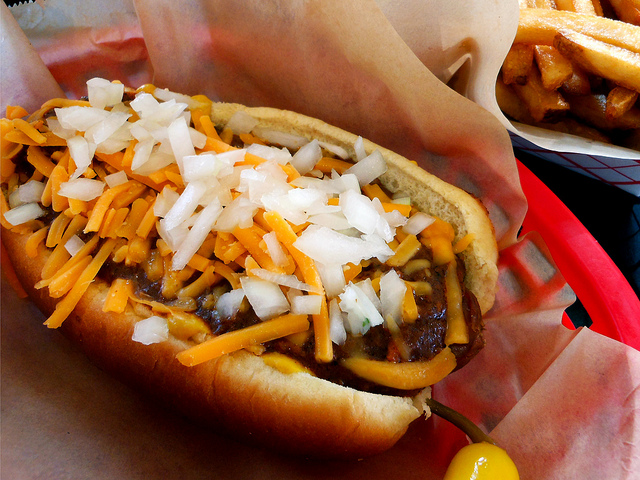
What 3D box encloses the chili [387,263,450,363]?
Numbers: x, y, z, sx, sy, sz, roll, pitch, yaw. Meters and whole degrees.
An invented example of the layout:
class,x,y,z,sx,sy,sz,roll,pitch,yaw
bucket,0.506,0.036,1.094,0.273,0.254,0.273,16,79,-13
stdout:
class,x,y,z,sx,sy,sz,roll,pitch,yaw
chili,0.370,0.295,2.170,0.284,0.239,0.387,12,15,14
